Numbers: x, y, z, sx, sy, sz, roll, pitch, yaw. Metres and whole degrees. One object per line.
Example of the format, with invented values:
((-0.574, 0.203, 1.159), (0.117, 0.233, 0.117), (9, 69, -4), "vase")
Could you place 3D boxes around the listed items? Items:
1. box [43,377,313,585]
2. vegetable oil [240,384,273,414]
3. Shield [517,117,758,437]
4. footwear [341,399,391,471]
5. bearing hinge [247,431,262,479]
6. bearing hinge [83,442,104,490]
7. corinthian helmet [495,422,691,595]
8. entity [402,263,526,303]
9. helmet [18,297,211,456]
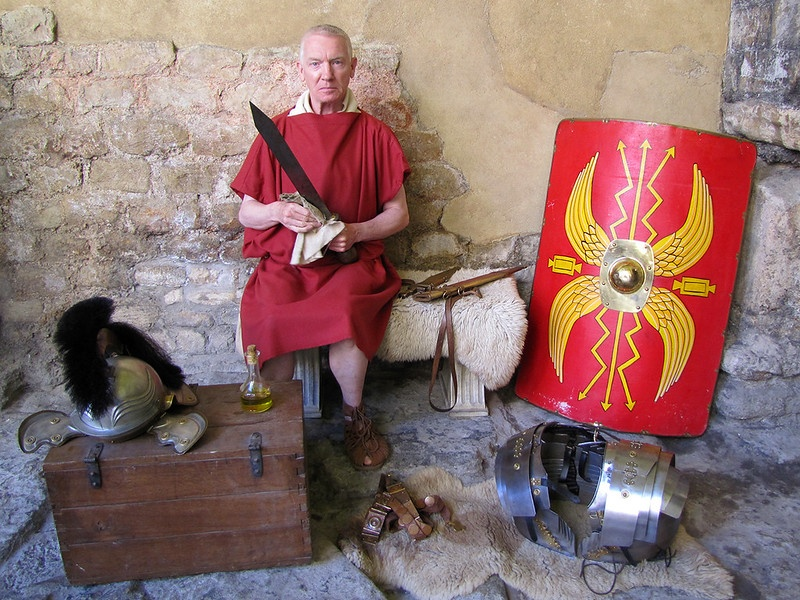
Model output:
((-0.876, 0.718, 3.021), (0.957, 0.596, 0.572), (-2, 24, -9), "box")
((-0.582, 0.404, 2.937), (0.120, 0.179, 0.106), (-1, 0, -2), "vegetable oil")
((1.135, -0.105, 3.479), (0.868, 1.453, 0.514), (9, 21, 23), "Shield")
((-0.169, 0.651, 3.424), (0.147, 0.148, 0.351), (-9, 15, -17), "footwear")
((-0.554, 0.598, 2.767), (0.051, 0.144, 0.085), (-3, 20, -12), "bearing hinge")
((-1.132, 0.619, 2.670), (0.079, 0.135, 0.032), (-5, 5, -11), "bearing hinge")
((0.791, 0.760, 2.888), (0.775, 0.497, 0.559), (11, 26, 36), "corinthian helmet")
((0.334, -0.166, 3.690), (0.631, 0.129, 0.188), (-19, 17, -20), "entity")
((-1.087, 0.262, 2.771), (0.698, 0.503, 0.453), (-2, 26, 0), "helmet")
